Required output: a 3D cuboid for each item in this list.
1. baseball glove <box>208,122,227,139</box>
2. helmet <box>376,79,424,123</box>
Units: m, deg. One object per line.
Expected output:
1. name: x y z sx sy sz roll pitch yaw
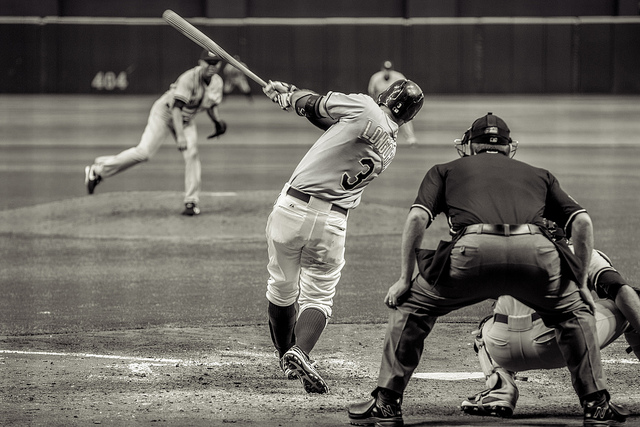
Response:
1. baseball glove: -1.624 -1.313 20.288 0.221 0.260 0.569 3 7 -2
2. helmet: 1.004 -1.475 15.817 0.573 0.472 0.410 20 19 7
